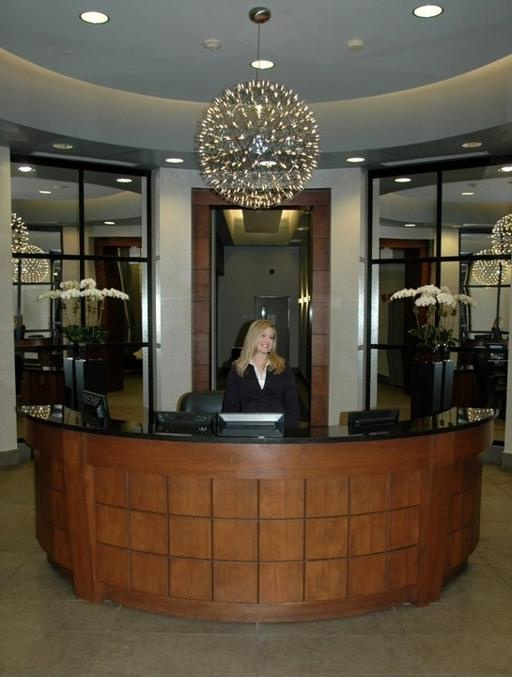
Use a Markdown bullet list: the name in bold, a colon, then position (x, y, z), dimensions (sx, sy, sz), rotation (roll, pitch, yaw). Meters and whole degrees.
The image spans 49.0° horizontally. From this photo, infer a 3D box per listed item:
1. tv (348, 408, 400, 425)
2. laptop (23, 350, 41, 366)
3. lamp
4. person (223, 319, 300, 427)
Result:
- **tv**: position (0.701, 0.453, 3.276), dimensions (0.410, 0.089, 0.098), rotation (0, 0, -28)
- **laptop**: position (-2.647, 0.236, 6.642), dimensions (0.244, 0.250, 0.134), rotation (0, 7, -12)
- **lamp**: position (0.010, -1.309, 3.750), dimensions (0.805, 0.580, 0.666), rotation (0, 0, 2)
- **person**: position (0.034, 0.237, 3.825), dimensions (0.513, 0.735, 0.277), rotation (0, 0, 1)
